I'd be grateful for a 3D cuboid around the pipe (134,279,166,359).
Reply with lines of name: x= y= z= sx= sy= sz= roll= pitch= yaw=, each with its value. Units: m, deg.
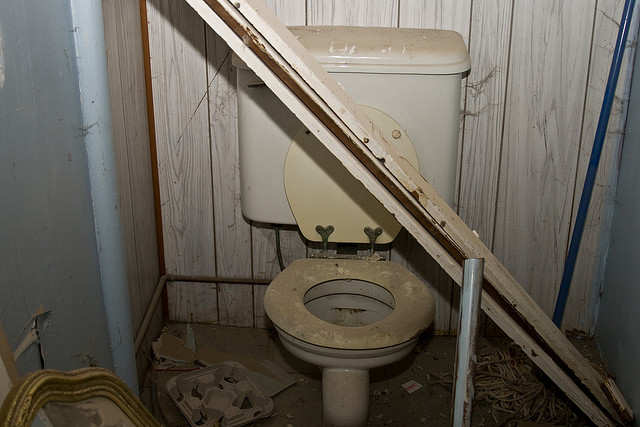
pipe: x=-0.639 y=0.381 z=2.067 sx=0.024 sy=0.026 sz=0.357 roll=7 pitch=35 yaw=12
